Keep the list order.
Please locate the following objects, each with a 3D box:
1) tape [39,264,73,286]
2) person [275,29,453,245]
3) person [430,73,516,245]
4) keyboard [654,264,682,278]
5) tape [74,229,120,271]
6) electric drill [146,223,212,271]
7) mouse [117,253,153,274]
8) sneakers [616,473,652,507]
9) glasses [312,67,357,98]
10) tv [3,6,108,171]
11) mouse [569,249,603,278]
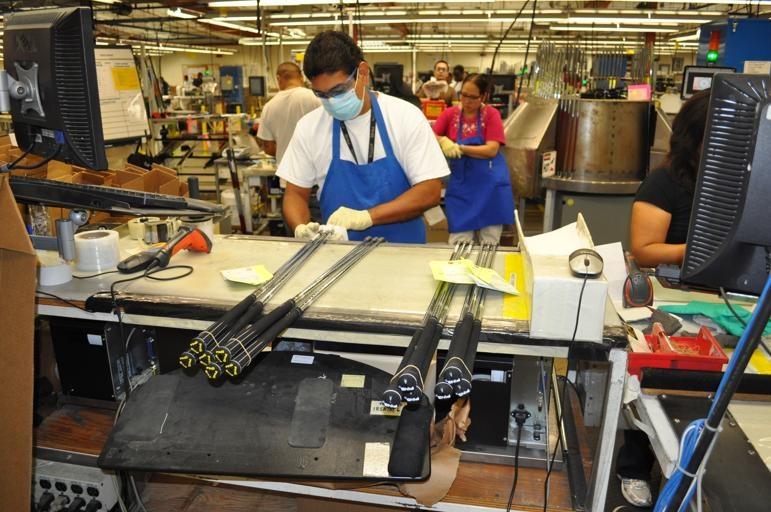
[{"bbox_3d":[-1.282,0.076,2.220,0.083,0.052,0.084,1,8,1],"label":"tape"},{"bbox_3d":[-0.194,-0.613,3.201,0.918,1.163,0.604,-9,23,-30],"label":"person"},{"bbox_3d":[0.717,-0.759,4.900,0.685,1.468,0.634,5,19,-3],"label":"person"},{"bbox_3d":[1.149,0.061,2.336,0.086,0.055,0.152,8,22,22],"label":"keyboard"},{"bbox_3d":[-1.171,-0.023,2.355,0.167,0.126,0.168,-5,12,-23],"label":"tape"},{"bbox_3d":[-0.855,-0.019,2.377,0.071,0.134,0.347,-4,23,26],"label":"electric drill"},{"bbox_3d":[-0.994,0.025,2.281,0.072,0.040,0.122,19,24,41],"label":"mouse"},{"bbox_3d":[0.899,0.840,2.065,0.055,0.056,0.139,2,2,-1],"label":"sneakers"},{"bbox_3d":[-0.235,-0.859,2.779,0.153,0.048,0.161,-9,43,44],"label":"glasses"},{"bbox_3d":[-1.360,-0.672,2.316,0.476,0.604,0.155,7,21,18],"label":"tv"},{"bbox_3d":[0.638,0.024,1.818,0.078,0.034,0.104,-1,31,7],"label":"mouse"}]
